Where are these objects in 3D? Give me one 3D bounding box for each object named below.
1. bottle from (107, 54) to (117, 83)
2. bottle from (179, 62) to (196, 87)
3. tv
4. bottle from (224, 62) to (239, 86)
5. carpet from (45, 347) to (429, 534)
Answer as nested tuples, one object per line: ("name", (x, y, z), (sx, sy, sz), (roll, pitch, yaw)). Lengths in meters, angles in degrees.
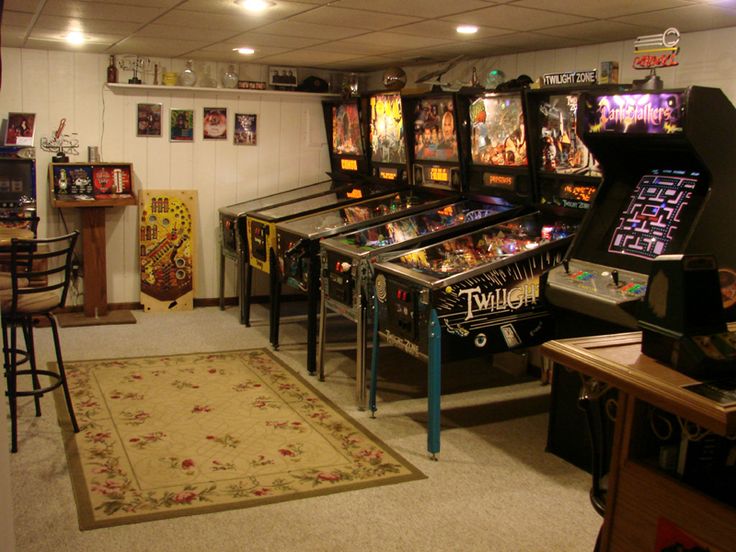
("bottle", (-2.820, -2.261, 6.145), (0.116, 0.309, 0.190), (-3, 14, -23))
("bottle", (-2.078, -2.331, 6.452), (0.164, 0.285, 0.199), (-2, 13, -17))
("tv", (1.618, -0.351, 3.146), (0.347, 0.480, 0.369), (-9, 17, -42))
("bottle", (-1.621, -2.356, 6.598), (0.170, 0.286, 0.177), (2, 13, 0))
("carpet", (-1.218, 0.996, 4.155), (2.074, 0.011, 2.783), (1, 8, -36))
